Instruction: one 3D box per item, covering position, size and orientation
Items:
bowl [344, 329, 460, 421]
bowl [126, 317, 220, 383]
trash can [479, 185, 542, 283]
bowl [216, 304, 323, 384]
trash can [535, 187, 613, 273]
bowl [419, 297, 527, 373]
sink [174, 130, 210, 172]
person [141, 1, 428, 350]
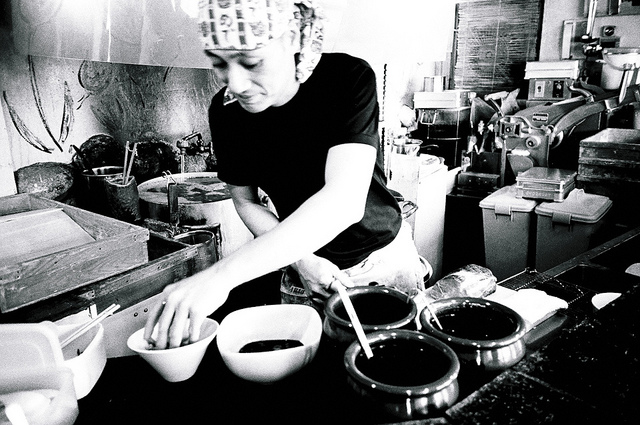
[{"bbox_3d":[0.249,0.470,1.307,0.253,0.105,0.238,-2,14,1],"label":"bowl"},{"bbox_3d":[-0.488,0.463,1.507,0.298,0.135,0.186,-5,20,-14],"label":"bowl"},{"bbox_3d":[1.684,0.267,3.961,0.481,0.704,0.450,1,0,38],"label":"trash can"},{"bbox_3d":[-0.164,0.433,1.524,0.317,0.194,0.400,-3,10,-34],"label":"bowl"},{"bbox_3d":[2.027,0.176,3.643,0.484,0.602,0.488,14,25,35],"label":"trash can"},{"bbox_3d":[0.491,0.349,1.521,0.368,0.184,0.290,3,14,9],"label":"bowl"},{"bbox_3d":[-0.988,-0.470,3.390,0.105,0.387,0.332,31,39,31],"label":"sink"},{"bbox_3d":[-0.065,-0.134,1.725,0.955,1.252,1.063,4,20,13],"label":"person"}]
